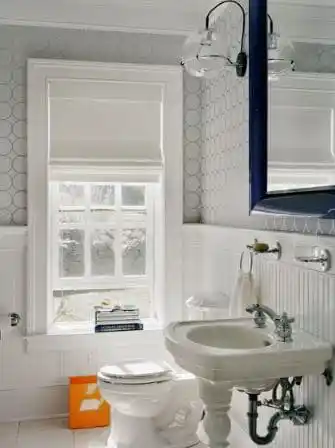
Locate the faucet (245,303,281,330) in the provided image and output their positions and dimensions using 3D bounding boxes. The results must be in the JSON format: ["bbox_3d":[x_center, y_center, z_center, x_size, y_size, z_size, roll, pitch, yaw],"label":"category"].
[{"bbox_3d":[0.353,0.322,1.491,0.058,0.094,0.192,-6,-13,36],"label":"faucet"}]

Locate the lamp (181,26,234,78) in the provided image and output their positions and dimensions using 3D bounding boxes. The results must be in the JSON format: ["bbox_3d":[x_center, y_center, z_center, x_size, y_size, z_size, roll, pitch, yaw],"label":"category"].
[{"bbox_3d":[0.150,-0.675,1.685,0.179,0.158,0.139,-7,-2,29],"label":"lamp"}]

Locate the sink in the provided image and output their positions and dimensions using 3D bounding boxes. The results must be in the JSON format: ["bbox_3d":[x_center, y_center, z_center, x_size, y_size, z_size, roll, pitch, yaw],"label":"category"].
[{"bbox_3d":[0.234,0.397,1.279,0.263,0.107,0.300,0,1,-18],"label":"sink"}]
